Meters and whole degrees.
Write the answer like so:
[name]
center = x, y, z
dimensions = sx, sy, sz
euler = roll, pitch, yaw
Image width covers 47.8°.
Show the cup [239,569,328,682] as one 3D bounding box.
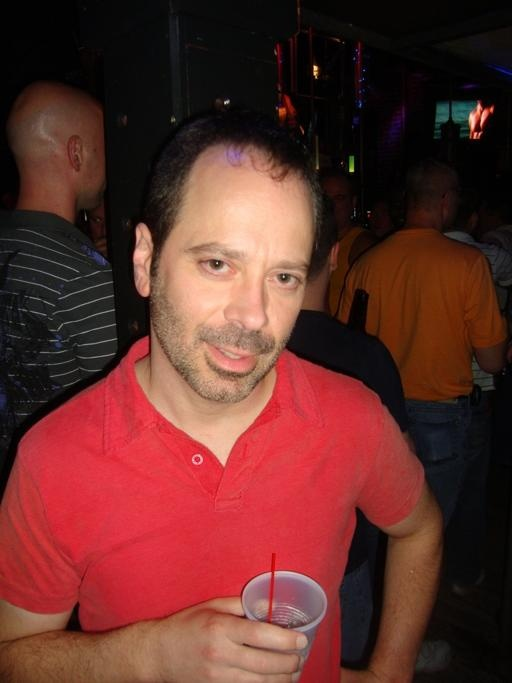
[cup]
center = 0.055, 0.559, 1.197
dimensions = 0.170, 0.148, 0.171
euler = 3, 21, -1
